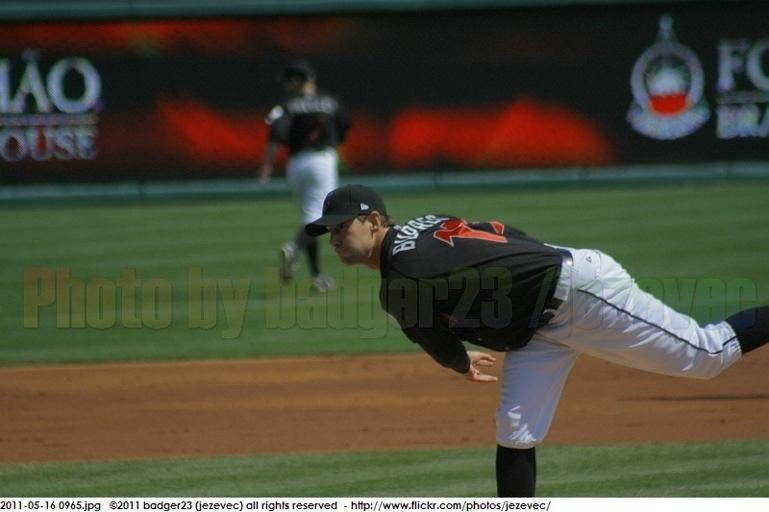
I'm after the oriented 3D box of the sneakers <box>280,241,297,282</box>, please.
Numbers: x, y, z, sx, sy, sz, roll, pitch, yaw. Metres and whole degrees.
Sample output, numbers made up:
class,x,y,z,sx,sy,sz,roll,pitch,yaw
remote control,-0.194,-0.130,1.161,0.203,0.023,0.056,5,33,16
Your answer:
class,x,y,z,sx,sy,sz,roll,pitch,yaw
sneakers,-1.002,0.068,14.502,0.140,0.268,0.362,3,-41,6
